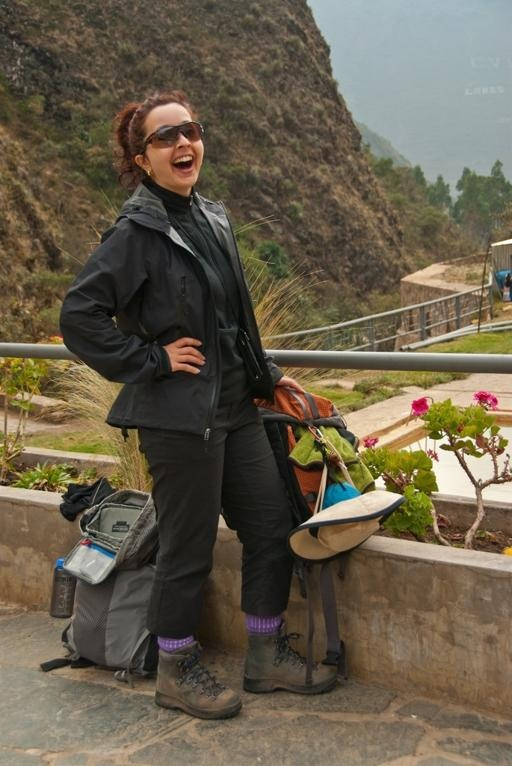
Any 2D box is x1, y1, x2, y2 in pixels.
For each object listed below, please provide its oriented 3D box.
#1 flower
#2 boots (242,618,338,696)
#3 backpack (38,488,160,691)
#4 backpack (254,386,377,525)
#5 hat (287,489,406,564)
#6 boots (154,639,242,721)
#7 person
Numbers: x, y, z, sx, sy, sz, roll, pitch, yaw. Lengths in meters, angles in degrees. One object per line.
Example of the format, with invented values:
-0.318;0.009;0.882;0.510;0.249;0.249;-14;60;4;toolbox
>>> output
0.844;0.403;3.196;0.483;0.575;0.418;-29;-29;4;flower
0.088;0.847;2.131;0.357;0.231;0.132;-2;-3;0;boots
-0.495;0.688;2.378;0.460;0.602;0.314;-4;-8;43;backpack
0.153;0.251;2.259;0.410;0.482;0.287;14;-30;-41;backpack
0.255;0.428;1.964;0.319;0.224;0.271;-4;5;1;hat
-0.173;0.879;2.036;0.282;0.172;0.099;-2;-8;31;boots
-0.183;0.049;2.007;0.701;1.813;0.365;-6;5;-17;person
